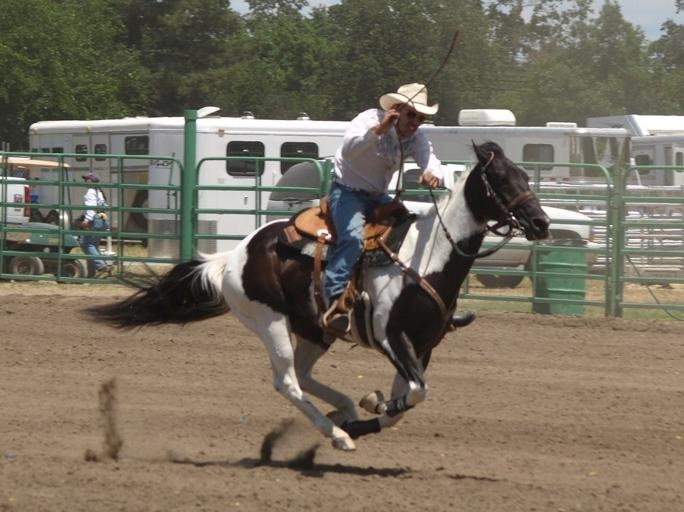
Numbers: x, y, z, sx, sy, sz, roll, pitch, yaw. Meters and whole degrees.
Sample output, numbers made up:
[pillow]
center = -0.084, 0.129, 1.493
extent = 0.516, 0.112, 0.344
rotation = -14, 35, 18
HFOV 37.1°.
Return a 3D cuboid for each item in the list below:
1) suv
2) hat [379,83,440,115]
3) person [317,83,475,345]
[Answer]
[suv]
center = 1.357, -0.540, 17.131
extent = 6.051, 1.556, 2.195
rotation = 0, 0, 1
[hat]
center = 0.729, -1.661, 10.678
extent = 0.578, 0.380, 0.469
rotation = 0, 2, -11
[person]
center = 0.394, -0.489, 10.714
extent = 1.133, 2.693, 0.601
rotation = 1, 2, -2
